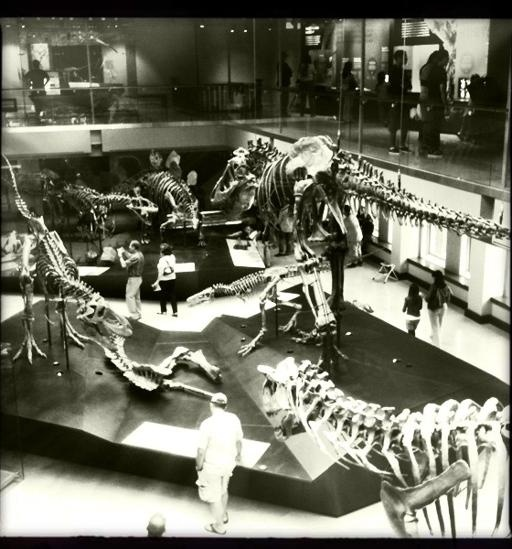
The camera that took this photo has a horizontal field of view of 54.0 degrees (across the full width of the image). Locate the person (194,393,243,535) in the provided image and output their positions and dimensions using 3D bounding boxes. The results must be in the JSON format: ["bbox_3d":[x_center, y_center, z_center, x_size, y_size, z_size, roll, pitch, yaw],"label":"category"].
[{"bbox_3d":[-0.290,1.477,3.941,0.365,1.224,0.304,-4,14,-9],"label":"person"}]

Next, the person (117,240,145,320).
[{"bbox_3d":[-1.869,0.060,7.608,0.338,1.285,0.693,-5,15,-15],"label":"person"}]

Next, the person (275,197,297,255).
[{"bbox_3d":[0.473,-0.823,8.064,0.215,0.271,0.810,10,-19,1],"label":"person"}]

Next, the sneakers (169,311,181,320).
[{"bbox_3d":[-1.266,0.608,7.819,0.103,0.123,0.067,16,28,17],"label":"sneakers"}]

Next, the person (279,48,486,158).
[{"bbox_3d":[1.874,-2.311,6.913,0.701,1.287,2.987,-9,18,-28],"label":"person"}]

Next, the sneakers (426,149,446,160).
[{"bbox_3d":[2.329,-1.567,6.511,0.196,0.104,0.081,3,30,9],"label":"sneakers"}]

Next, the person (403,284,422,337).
[{"bbox_3d":[1.952,0.441,6.252,0.220,0.815,0.479,4,16,19],"label":"person"}]

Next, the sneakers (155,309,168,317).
[{"bbox_3d":[-1.490,0.602,7.982,0.205,0.157,0.073,-8,-2,30],"label":"sneakers"}]

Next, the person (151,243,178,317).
[{"bbox_3d":[-1.433,0.028,7.829,0.384,1.239,1.061,-4,15,-12],"label":"person"}]

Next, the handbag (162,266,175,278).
[{"bbox_3d":[-1.311,-0.062,7.473,0.156,0.172,0.087,-7,15,-18],"label":"handbag"}]

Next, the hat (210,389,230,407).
[{"bbox_3d":[-0.283,0.947,3.818,0.106,0.139,0.162,0,16,4],"label":"hat"}]

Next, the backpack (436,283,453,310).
[{"bbox_3d":[2.394,0.276,6.388,0.172,0.368,0.303,7,5,13],"label":"backpack"}]

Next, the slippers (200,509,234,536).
[{"bbox_3d":[-0.324,2.042,4.125,0.214,0.185,0.092,13,13,35],"label":"slippers"}]
